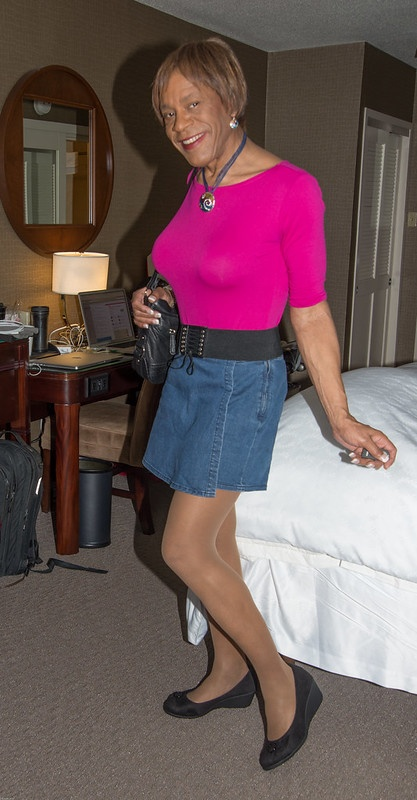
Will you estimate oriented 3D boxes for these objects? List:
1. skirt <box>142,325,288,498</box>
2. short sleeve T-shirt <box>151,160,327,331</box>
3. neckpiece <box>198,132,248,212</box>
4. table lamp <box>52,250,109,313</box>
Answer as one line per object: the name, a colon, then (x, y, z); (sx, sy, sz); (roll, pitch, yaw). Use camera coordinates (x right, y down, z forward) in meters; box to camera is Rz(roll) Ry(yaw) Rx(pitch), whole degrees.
skirt: (0.017, 0.006, 1.106); (0.204, 0.381, 0.262); (2, 11, -35)
short sleeve T-shirt: (0.035, -0.283, 0.995); (0.194, 0.302, 0.325); (-18, 29, -41)
neckpiece: (0.012, -0.396, 0.988); (0.083, 0.149, 0.037); (3, 18, -47)
table lamp: (-0.720, -0.705, 3.058); (0.219, 0.260, 0.288); (2, 4, 27)
